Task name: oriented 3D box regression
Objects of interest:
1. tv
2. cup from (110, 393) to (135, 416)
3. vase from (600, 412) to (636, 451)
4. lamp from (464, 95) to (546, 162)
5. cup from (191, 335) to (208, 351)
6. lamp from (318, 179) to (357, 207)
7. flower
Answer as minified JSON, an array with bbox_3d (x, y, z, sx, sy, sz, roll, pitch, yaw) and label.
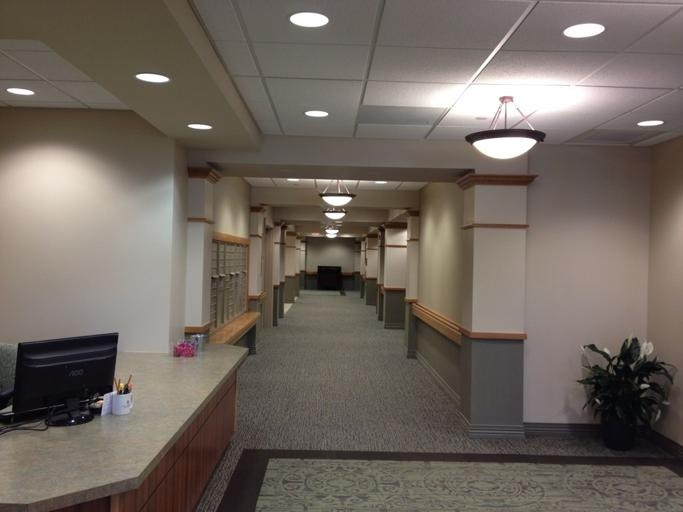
[{"bbox_3d":[-1.955,0.811,3.370,0.795,0.753,0.542,7,-1,-45],"label":"tv"},{"bbox_3d":[-1.618,1.103,3.361,0.108,0.130,0.165,2,-7,-10],"label":"cup"},{"bbox_3d":[3.177,2.017,5.331,0.373,0.378,0.366,0,-2,7],"label":"vase"},{"bbox_3d":[1.510,-1.122,4.118,0.653,0.511,0.699,4,-5,-6],"label":"lamp"},{"bbox_3d":[-1.645,1.007,5.277,0.203,0.212,0.141,-2,6,-22],"label":"cup"},{"bbox_3d":[-0.060,-1.203,8.039,0.548,0.601,0.584,-2,-4,28],"label":"lamp"},{"bbox_3d":[3.314,1.407,5.406,1.048,0.956,1.086,0,2,2],"label":"flower"}]
